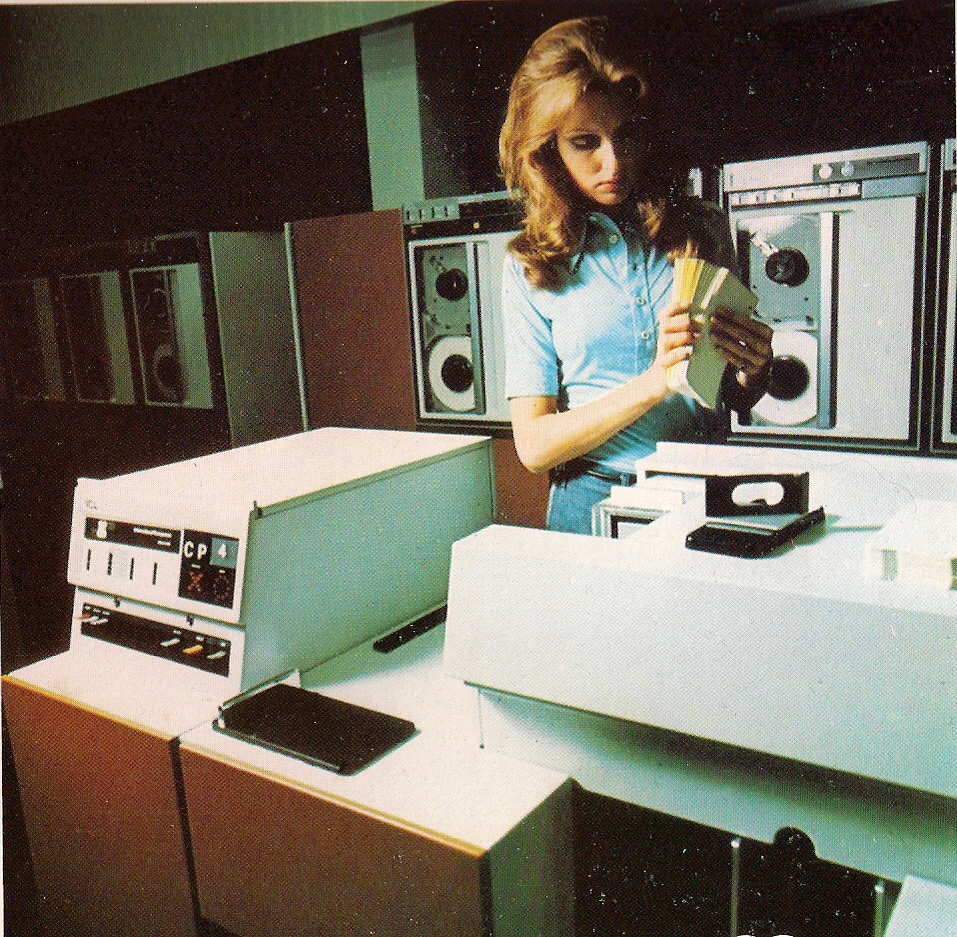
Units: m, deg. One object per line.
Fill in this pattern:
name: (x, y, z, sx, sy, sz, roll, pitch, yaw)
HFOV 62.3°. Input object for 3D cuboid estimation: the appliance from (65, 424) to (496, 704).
appliance: (-0.233, 0.060, 1.163, 0.315, 0.240, 0.449, 3, 10, 37)
